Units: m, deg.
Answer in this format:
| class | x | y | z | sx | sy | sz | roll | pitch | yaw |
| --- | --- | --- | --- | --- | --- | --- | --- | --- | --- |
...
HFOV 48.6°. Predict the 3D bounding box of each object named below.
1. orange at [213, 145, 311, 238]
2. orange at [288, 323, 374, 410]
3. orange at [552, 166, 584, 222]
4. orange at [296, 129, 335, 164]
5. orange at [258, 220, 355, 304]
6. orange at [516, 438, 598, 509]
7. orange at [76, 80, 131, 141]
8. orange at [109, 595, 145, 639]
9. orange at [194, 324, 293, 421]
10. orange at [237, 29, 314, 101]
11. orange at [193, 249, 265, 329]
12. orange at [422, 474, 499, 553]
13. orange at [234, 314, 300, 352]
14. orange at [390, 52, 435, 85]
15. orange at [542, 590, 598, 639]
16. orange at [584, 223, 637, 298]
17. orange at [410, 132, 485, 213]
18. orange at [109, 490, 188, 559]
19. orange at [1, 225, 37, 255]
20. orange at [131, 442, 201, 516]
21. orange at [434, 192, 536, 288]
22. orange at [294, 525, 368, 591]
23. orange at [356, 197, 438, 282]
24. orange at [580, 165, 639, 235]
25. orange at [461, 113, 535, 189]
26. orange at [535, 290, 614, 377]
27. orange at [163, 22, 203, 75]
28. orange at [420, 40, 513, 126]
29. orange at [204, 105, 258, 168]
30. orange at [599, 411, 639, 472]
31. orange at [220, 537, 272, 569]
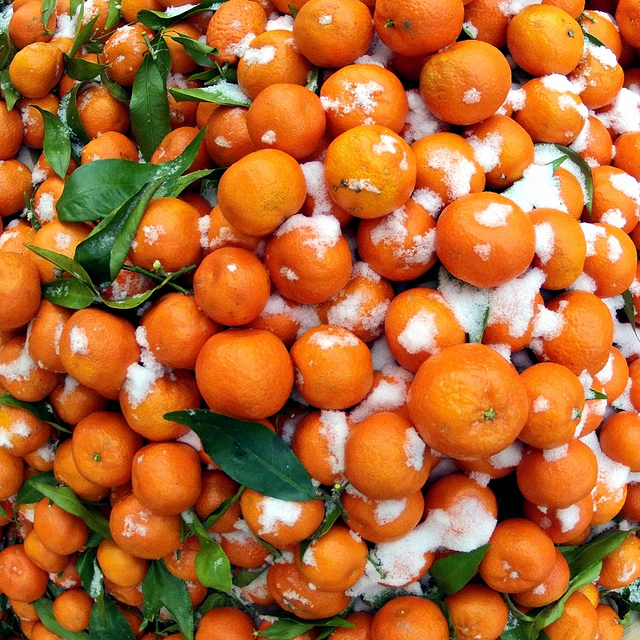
| class | x | y | z | sx | sy | sz | roll | pitch | yaw |
| --- | --- | --- | --- | --- | --- | --- | --- | --- | --- |
| orange | -0.065 | -0.226 | 1.207 | 0.117 | 0.131 | 0.122 | -28 | 97 | 23 |
| orange | 0.018 | 0.076 | 1.216 | 0.137 | 0.103 | 0.154 | -20 | 85 | -2 |
| orange | 0.464 | -0.237 | 1.319 | 0.083 | 0.085 | 0.105 | -1 | 96 | 7 |
| orange | -0.002 | -0.308 | 1.279 | 0.060 | 0.060 | 0.061 | -2 | 108 | 35 |
| orange | -0.023 | -0.083 | 1.259 | 0.148 | 0.139 | 0.148 | -4 | 86 | 38 |
| orange | 0.408 | 0.266 | 1.270 | 0.126 | 0.120 | 0.124 | 8 | 85 | -27 |
| orange | -0.493 | -0.441 | 1.498 | 0.092 | 0.092 | 0.093 | -17 | 116 | -3 |
| orange | -0.383 | 0.610 | 1.458 | 0.053 | 0.109 | 0.061 | -15 | 50 | 27 |
| orange | -0.146 | 0.090 | 1.226 | 0.174 | 0.191 | 0.175 | 3 | 97 | -11 |
| orange | -0.090 | -0.468 | 1.334 | 0.127 | 0.098 | 0.127 | -20 | 65 | 14 |
| orange | -0.151 | -0.048 | 1.218 | 0.118 | 0.092 | 0.118 | 0 | 79 | 11 |
| orange | 0.252 | 0.331 | 1.307 | 0.128 | 0.126 | 0.135 | 6 | 93 | 8 |
| orange | -0.093 | 0.008 | 1.244 | 0.075 | 0.077 | 0.093 | 1 | 97 | 33 |
| orange | 0.165 | -0.473 | 1.329 | 0.058 | 0.070 | 0.059 | -7 | 46 | -27 |
| orange | 0.484 | 0.567 | 1.392 | 0.090 | 0.084 | 0.093 | -7 | 91 | -41 |
| orange | 0.490 | -0.106 | 1.292 | 0.117 | 0.122 | 0.145 | 2 | 94 | 8 |
| orange | 0.221 | -0.266 | 1.291 | 0.131 | 0.125 | 0.134 | 8 | 97 | 7 |
| orange | -0.308 | 0.364 | 1.308 | 0.127 | 0.118 | 0.110 | -10 | 89 | 20 |
| orange | -0.596 | -0.157 | 1.401 | 0.049 | 0.052 | 0.052 | -17 | 114 | 6 |
| orange | -0.256 | 0.267 | 1.200 | 0.119 | 0.118 | 0.125 | 1 | 93 | 7 |
| orange | 0.272 | -0.112 | 1.159 | 0.154 | 0.114 | 0.155 | -3 | 86 | 2 |
| orange | 0.021 | 0.402 | 1.265 | 0.112 | 0.115 | 0.111 | 13 | 83 | 34 |
| orange | 0.136 | -0.137 | 1.272 | 0.131 | 0.131 | 0.136 | 4 | 111 | 3 |
| orange | 0.565 | -0.244 | 1.455 | 0.119 | 0.122 | 0.148 | 2 | 95 | 12 |
| orange | 0.317 | -0.298 | 1.324 | 0.122 | 0.148 | 0.130 | 3 | 84 | 6 |
| orange | 0.477 | 0.022 | 1.288 | 0.124 | 0.127 | 0.152 | 6 | 108 | 41 |
| orange | -0.283 | -0.546 | 1.436 | 0.081 | 0.098 | 0.086 | 9 | 50 | -1 |
| orange | 0.261 | -0.411 | 1.285 | 0.144 | 0.114 | 0.142 | -25 | 96 | 10 |
| orange | -0.171 | -0.339 | 1.305 | 0.100 | 0.102 | 0.124 | 7 | 103 | 11 |
| orange | 0.572 | 0.229 | 1.399 | 0.095 | 0.096 | 0.118 | 3 | 96 | 28 |
| orange | -0.138 | 0.426 | 1.293 | 0.079 | 0.066 | 0.069 | 2 | 86 | 10 |
